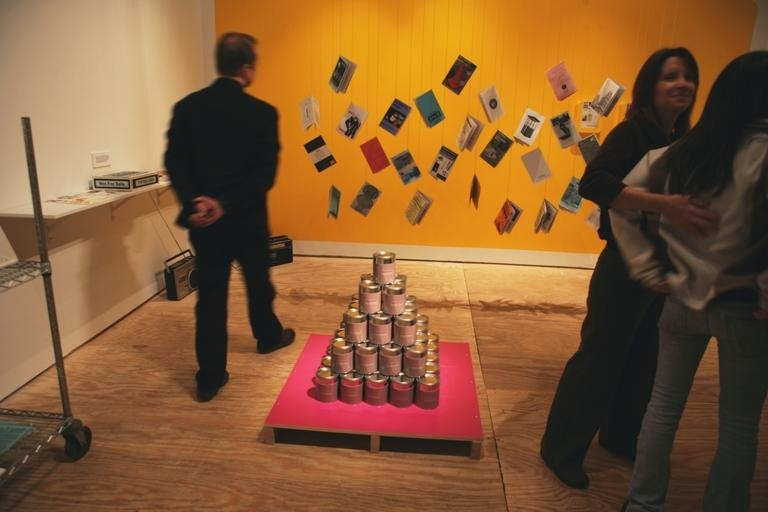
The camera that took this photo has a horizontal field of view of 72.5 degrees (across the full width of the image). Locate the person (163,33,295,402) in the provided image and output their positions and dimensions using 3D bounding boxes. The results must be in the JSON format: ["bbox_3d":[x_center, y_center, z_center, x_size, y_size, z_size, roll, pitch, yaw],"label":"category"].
[{"bbox_3d":[-0.983,-0.115,3.296,0.281,1.904,0.811,15,25,38],"label":"person"}]

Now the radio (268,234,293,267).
[{"bbox_3d":[-1.016,-0.034,5.142,0.291,0.244,0.148,3,31,-1],"label":"radio"}]

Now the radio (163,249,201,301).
[{"bbox_3d":[-1.791,0.156,4.712,0.139,0.366,0.416,1,14,14],"label":"radio"}]
